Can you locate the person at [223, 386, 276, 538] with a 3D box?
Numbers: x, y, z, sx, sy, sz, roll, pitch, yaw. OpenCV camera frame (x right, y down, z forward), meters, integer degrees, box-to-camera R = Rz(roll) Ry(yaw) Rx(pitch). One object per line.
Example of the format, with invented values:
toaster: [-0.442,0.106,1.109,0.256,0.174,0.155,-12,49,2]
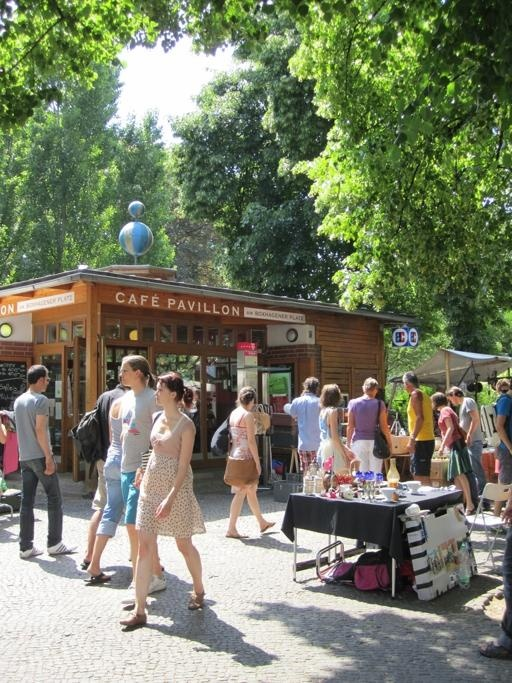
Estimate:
person: [-0.110,1.384,7.105,0.507,1.703,0.712,-1,-4,0]

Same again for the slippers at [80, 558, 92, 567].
slippers: [-1.544,2.008,5.600,0.052,0.063,0.157,1,-10,-1]

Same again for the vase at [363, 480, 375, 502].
vase: [0.945,1.235,5.131,0.104,0.183,0.107,-2,-5,42]

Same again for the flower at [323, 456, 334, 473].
flower: [0.699,1.221,6.009,0.128,0.179,0.052,6,6,9]

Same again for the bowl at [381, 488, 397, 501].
bowl: [1.075,1.225,4.981,0.095,0.078,0.107,-3,-4,33]

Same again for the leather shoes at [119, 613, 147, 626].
leather shoes: [-0.779,1.773,3.924,0.062,0.074,0.179,-17,-27,35]

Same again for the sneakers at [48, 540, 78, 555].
sneakers: [-1.936,2.059,6.170,0.300,0.133,0.101,3,0,-44]

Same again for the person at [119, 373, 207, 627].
person: [-0.614,1.043,4.150,0.491,1.655,0.686,-1,-4,3]

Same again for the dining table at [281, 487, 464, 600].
dining table: [0.929,1.664,5.380,1.239,0.740,1.277,-4,-5,38]

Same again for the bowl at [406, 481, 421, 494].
bowl: [1.427,1.323,5.584,0.107,0.085,0.110,2,-17,0]

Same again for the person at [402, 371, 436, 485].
person: [2.102,1.124,7.946,0.346,1.473,1.021,-2,-4,15]

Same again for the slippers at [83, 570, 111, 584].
slippers: [-1.308,1.958,5.087,0.081,0.062,0.193,4,-1,34]

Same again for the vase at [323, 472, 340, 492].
vase: [0.656,1.229,5.436,0.135,0.141,0.161,3,35,9]

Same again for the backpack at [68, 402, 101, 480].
backpack: [-1.628,0.895,5.991,0.254,0.533,0.390,-3,10,-12]

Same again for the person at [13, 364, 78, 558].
person: [-2.145,1.171,6.025,0.503,1.867,0.513,-1,-4,7]

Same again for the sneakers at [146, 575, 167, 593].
sneakers: [-0.773,1.900,4.829,0.088,0.116,0.253,-8,-14,23]
